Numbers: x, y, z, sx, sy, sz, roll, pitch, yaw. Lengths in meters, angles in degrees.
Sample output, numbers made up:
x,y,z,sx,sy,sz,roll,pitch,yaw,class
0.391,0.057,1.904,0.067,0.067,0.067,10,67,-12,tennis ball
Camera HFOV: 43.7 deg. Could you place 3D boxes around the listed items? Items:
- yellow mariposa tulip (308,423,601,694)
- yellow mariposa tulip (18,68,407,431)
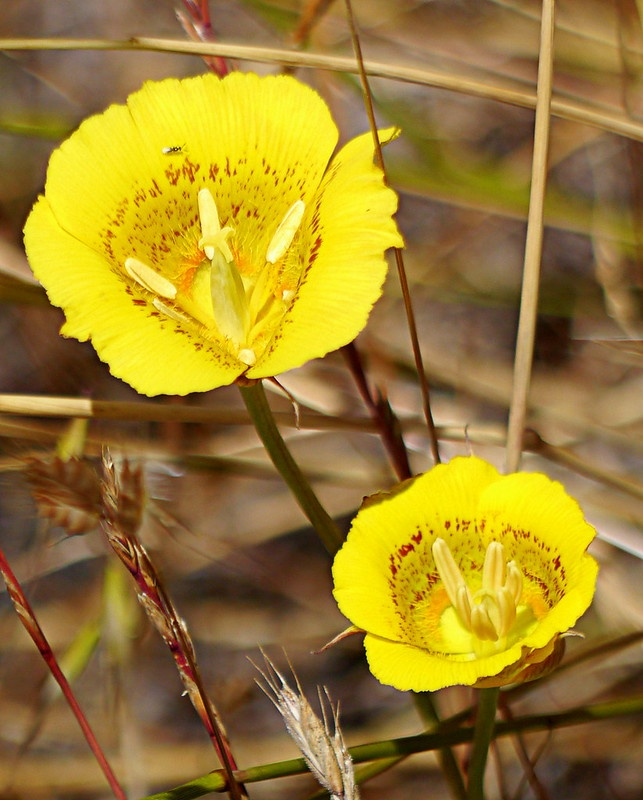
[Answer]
x,y,z,sx,sy,sz,roll,pitch,yaw,class
0.120,0.146,0.635,0.232,0.170,0.071,-17,-50,31,yellow mariposa tulip
-0.084,-0.150,0.646,0.252,0.257,0.193,-16,-3,36,yellow mariposa tulip
